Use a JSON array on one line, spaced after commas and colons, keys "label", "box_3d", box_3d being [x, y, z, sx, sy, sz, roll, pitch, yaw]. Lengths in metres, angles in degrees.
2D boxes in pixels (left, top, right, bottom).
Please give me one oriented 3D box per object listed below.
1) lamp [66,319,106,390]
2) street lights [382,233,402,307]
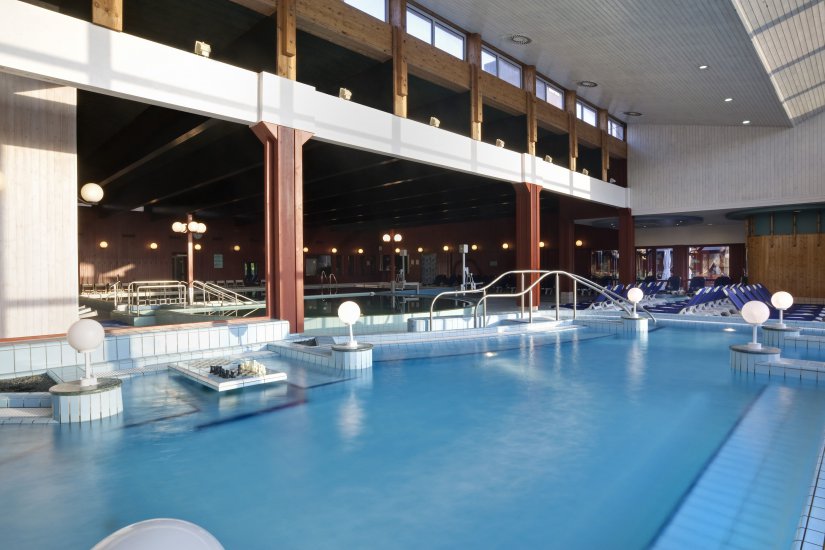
[{"label": "lamp", "box_3d": [-4.054, 0.969, 7.143, 0.435, 0.631, 0.334, -4, -1, 29]}, {"label": "street lights", "box_3d": [-0.674, -0.345, 18.867, 0.646, 2.012, 0.644, 2, 1, 12]}]
